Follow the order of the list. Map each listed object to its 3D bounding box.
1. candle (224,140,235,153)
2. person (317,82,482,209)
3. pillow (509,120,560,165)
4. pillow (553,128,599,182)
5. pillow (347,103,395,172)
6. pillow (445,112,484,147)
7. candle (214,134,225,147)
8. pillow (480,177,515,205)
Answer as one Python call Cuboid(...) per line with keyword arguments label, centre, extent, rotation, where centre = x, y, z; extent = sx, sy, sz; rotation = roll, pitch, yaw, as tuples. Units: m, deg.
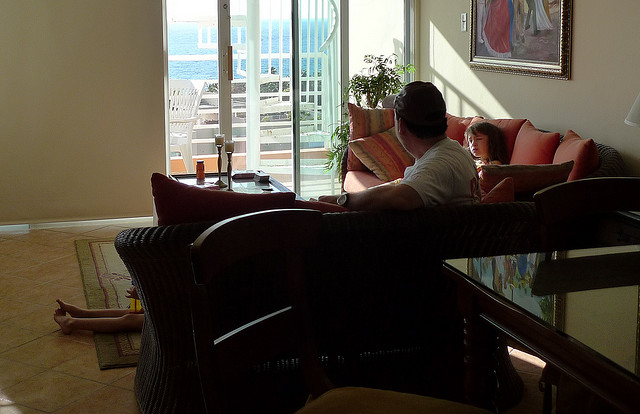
Cuboid(label="candle", centre=(-0.807, -0.533, 4.134), extent=(0.081, 0.097, 0.191), rotation=(-6, 15, -12))
Cuboid(label="person", centre=(0.464, -0.312, 2.642), extent=(0.928, 0.793, 0.713), rotation=(14, 28, 40))
Cuboid(label="pillow", centre=(1.734, -0.511, 3.741), extent=(0.132, 0.331, 0.360), rotation=(26, 6, -19))
Cuboid(label="pillow", centre=(1.747, -0.346, 3.164), extent=(0.155, 0.323, 0.424), rotation=(-2, 9, 3))
Cuboid(label="pillow", centre=(0.443, -0.682, 4.697), extent=(0.577, 0.610, 0.223), rotation=(-3, -14, -32))
Cuboid(label="pillow", centre=(1.509, -0.734, 4.577), extent=(0.096, 0.338, 0.354), rotation=(8, 7, 28))
Cuboid(label="candle", centre=(-0.907, -0.607, 4.175), extent=(0.111, 0.130, 0.116), rotation=(1, 11, -1))
Cuboid(label="pillow", centre=(0.990, -0.084, 2.499), extent=(0.259, 0.116, 0.156), rotation=(-13, 18, -35))
